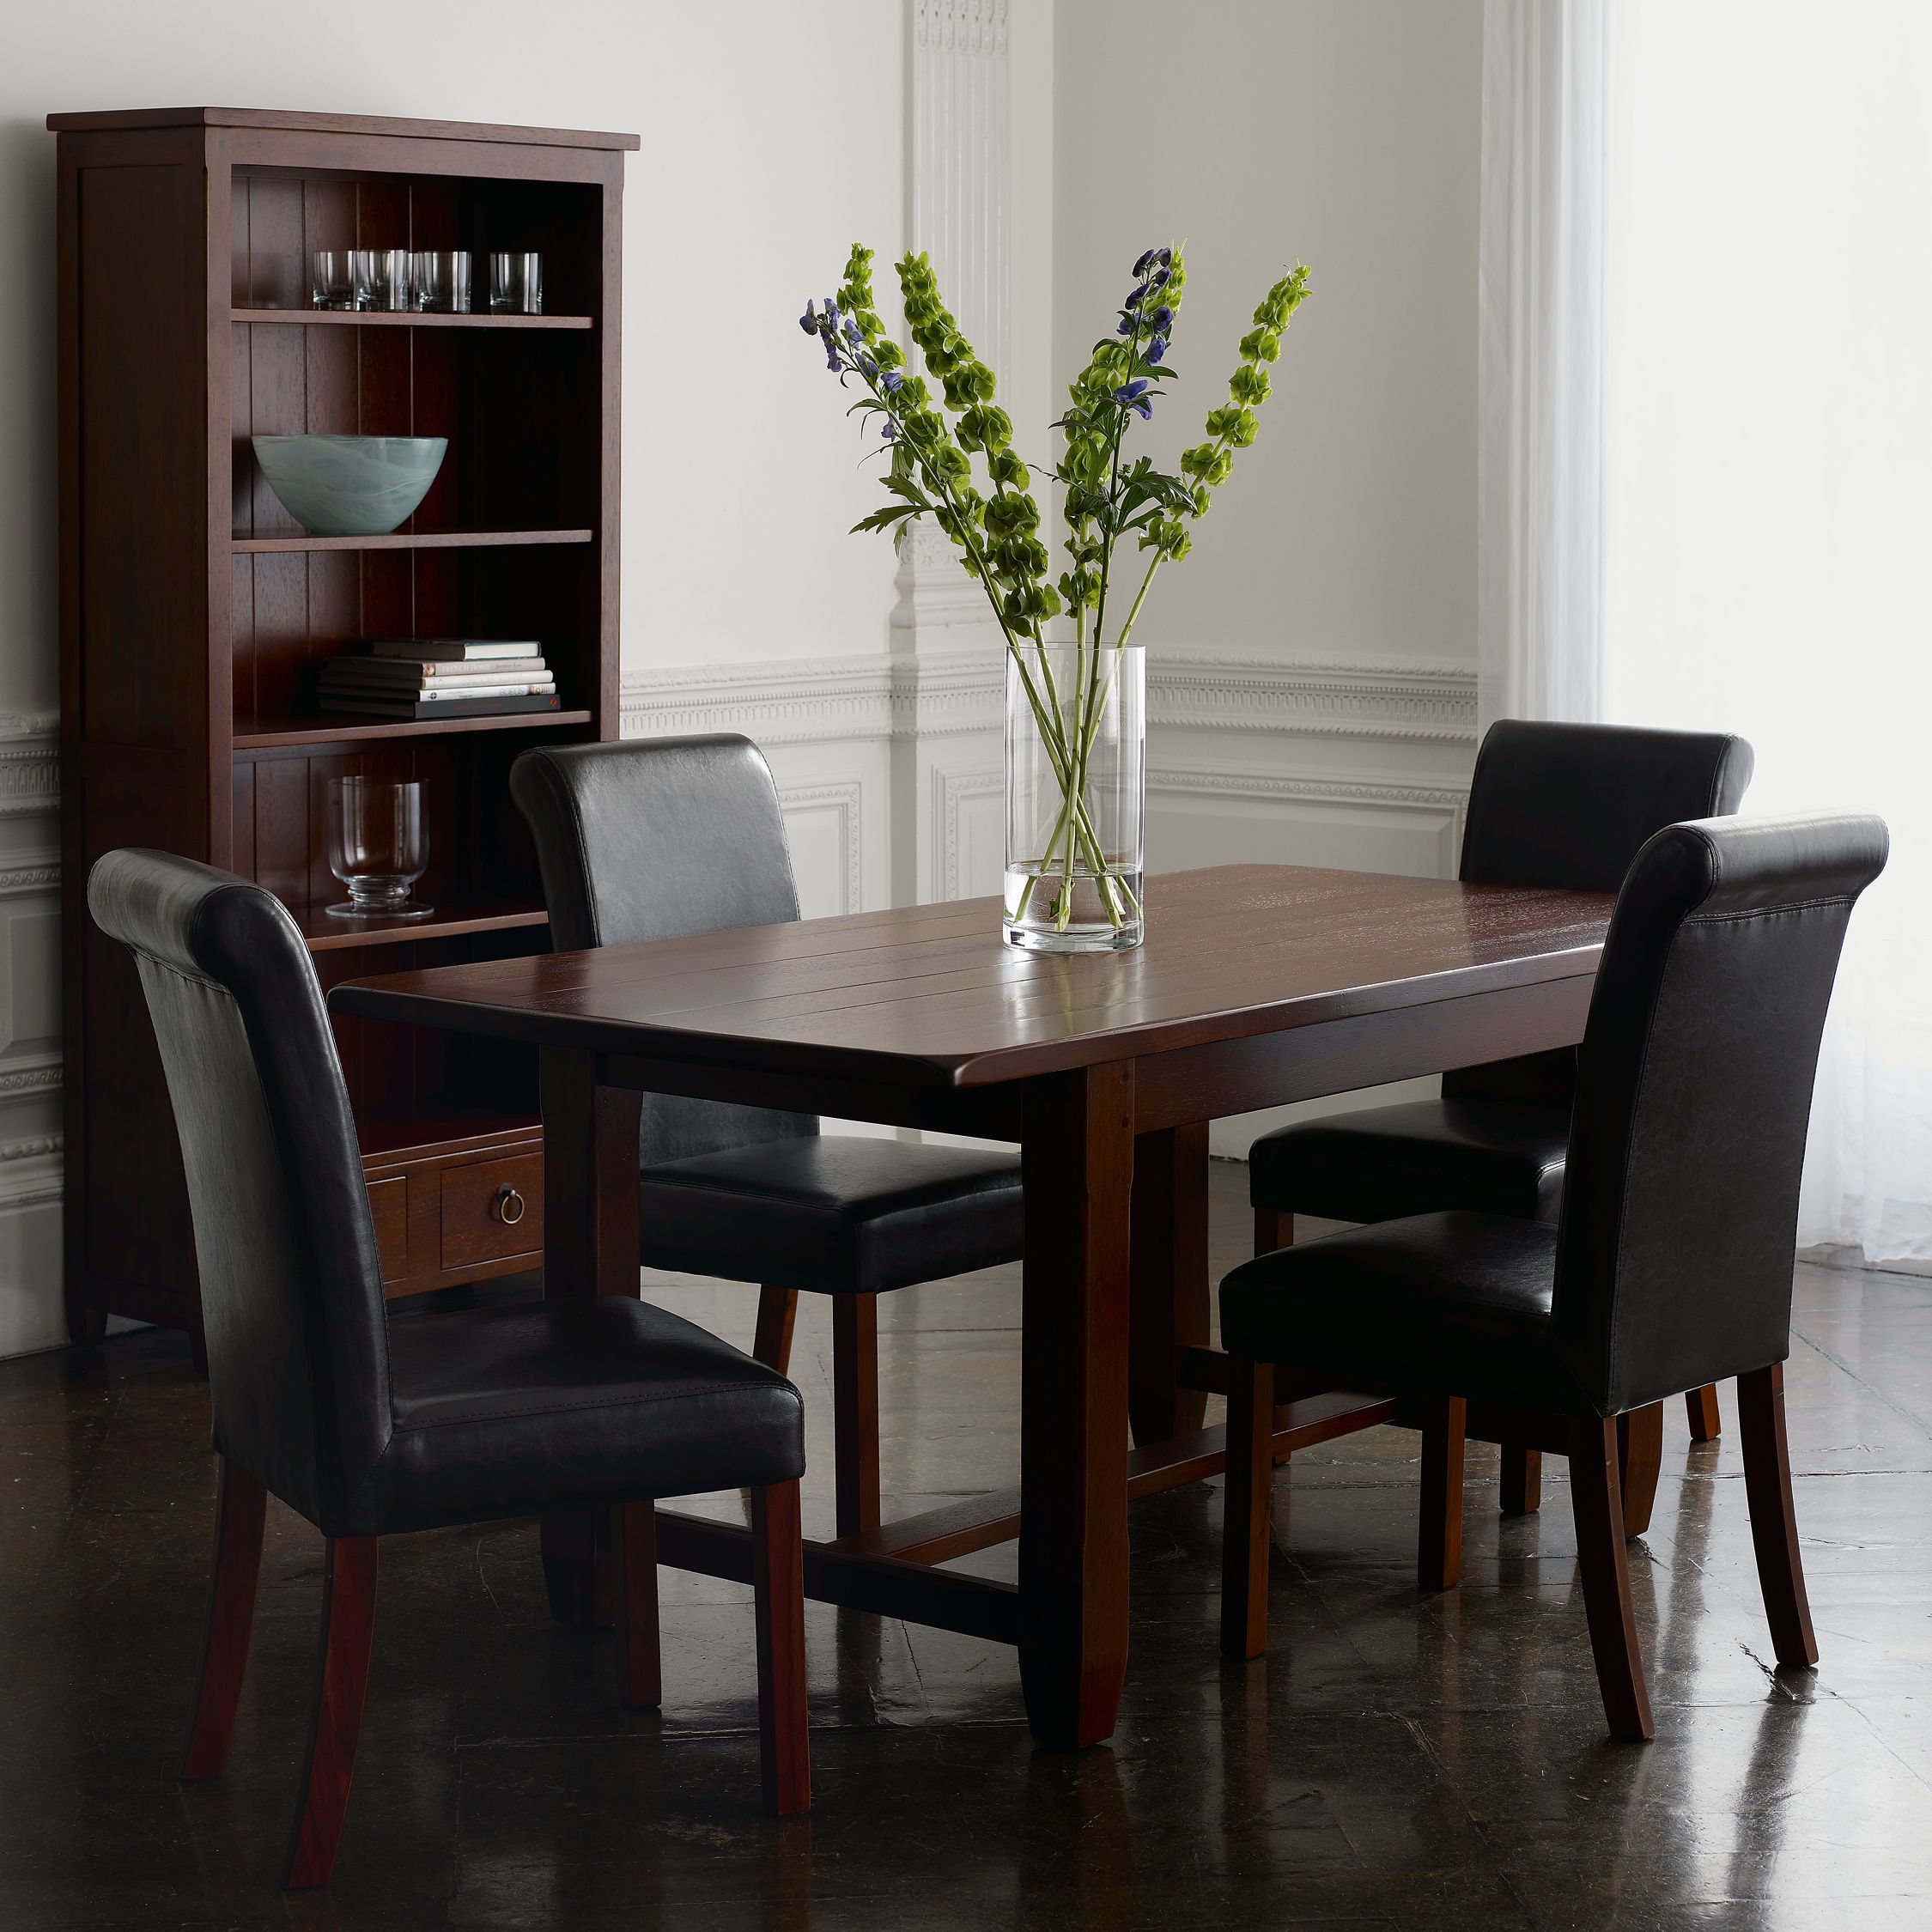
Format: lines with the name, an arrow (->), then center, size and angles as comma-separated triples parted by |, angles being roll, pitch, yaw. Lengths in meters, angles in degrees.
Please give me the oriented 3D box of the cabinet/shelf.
cabinet/shelf -> -1.139, -0.437, 3.654 | 0.426, 2.153, 0.936 | 14, 17, 35
